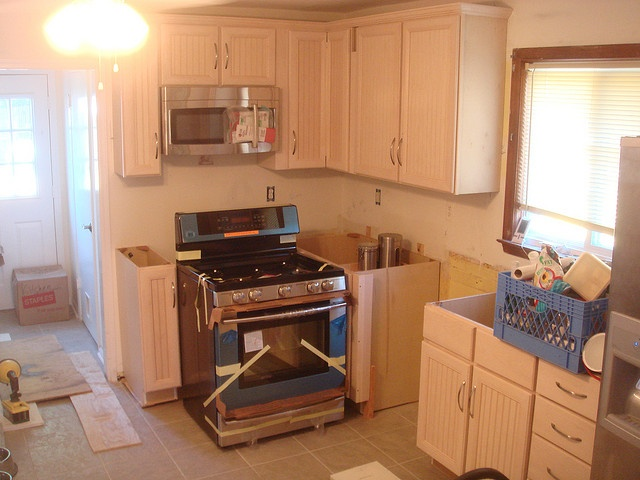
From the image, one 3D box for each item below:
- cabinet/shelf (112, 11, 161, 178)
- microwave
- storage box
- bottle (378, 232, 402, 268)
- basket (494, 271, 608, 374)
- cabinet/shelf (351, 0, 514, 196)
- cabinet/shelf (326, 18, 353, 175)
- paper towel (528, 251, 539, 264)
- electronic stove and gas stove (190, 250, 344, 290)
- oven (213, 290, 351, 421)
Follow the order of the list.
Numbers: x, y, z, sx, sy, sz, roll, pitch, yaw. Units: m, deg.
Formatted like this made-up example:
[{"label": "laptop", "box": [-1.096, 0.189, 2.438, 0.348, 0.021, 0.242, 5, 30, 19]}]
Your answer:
[{"label": "cabinet/shelf", "box": [-1.286, -0.984, 3.665, 0.307, 1.039, 0.130, 0, 14, 4]}, {"label": "microwave", "box": [-0.726, -0.897, 3.815, 0.871, 0.538, 0.523, -4, 11, -25]}, {"label": "storage box", "box": [-2.880, 0.561, 5.339, 0.505, 0.481, 0.498, -8, 16, -29]}, {"label": "bottle", "box": [0.535, 0.085, 3.952, 0.180, 0.263, 0.154, 0, 14, 4]}, {"label": "basket", "box": [1.108, 0.341, 2.506, 0.402, 0.252, 0.404, 24, 20, 38]}, {"label": "cabinet/shelf", "box": [0.751, -0.930, 3.313, 0.566, 1.324, 1.228, -5, 11, -31]}, {"label": "cabinet/shelf", "box": [0.137, -1.079, 3.989, 0.110, 1.050, 0.354, -6, 15, -22]}, {"label": "paper towel", "box": [1.071, 0.089, 2.583, 0.049, 0.057, 0.059, 6, 21, 23]}, {"label": "electronic stove and gas stove", "box": [-0.408, 0.198, 3.610, 0.970, 0.078, 0.682, -7, 15, -23]}, {"label": "oven", "box": [-0.328, 0.775, 3.633, 0.956, 0.913, 0.695, -3, 2, -29]}]
